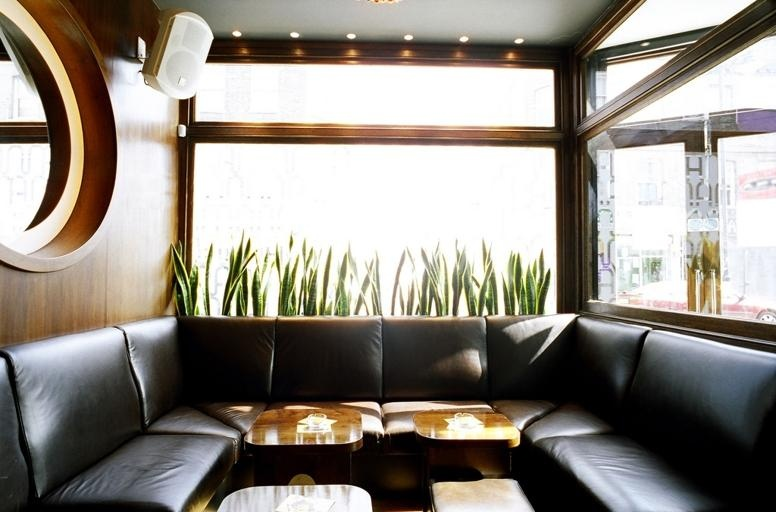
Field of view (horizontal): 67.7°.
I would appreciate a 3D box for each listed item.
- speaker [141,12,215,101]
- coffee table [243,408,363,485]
[{"bbox_3d":[-1.445,-1.405,4.003,0.300,0.487,0.348,-1,-6,35],"label":"speaker"},{"bbox_3d":[-0.494,1.170,3.481,0.676,0.400,0.544,3,-5,-1],"label":"coffee table"}]
